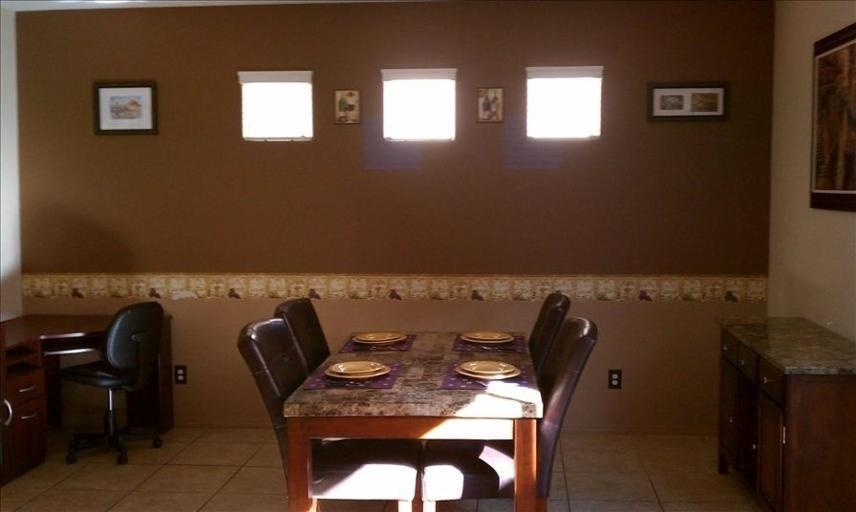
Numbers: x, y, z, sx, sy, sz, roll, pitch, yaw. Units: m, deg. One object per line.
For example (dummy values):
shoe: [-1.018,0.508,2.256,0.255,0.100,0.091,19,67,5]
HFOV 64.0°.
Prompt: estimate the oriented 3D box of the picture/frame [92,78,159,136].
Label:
picture/frame: [-2.736,-1.383,6.229,0.591,0.455,0.040,-1,4,2]
